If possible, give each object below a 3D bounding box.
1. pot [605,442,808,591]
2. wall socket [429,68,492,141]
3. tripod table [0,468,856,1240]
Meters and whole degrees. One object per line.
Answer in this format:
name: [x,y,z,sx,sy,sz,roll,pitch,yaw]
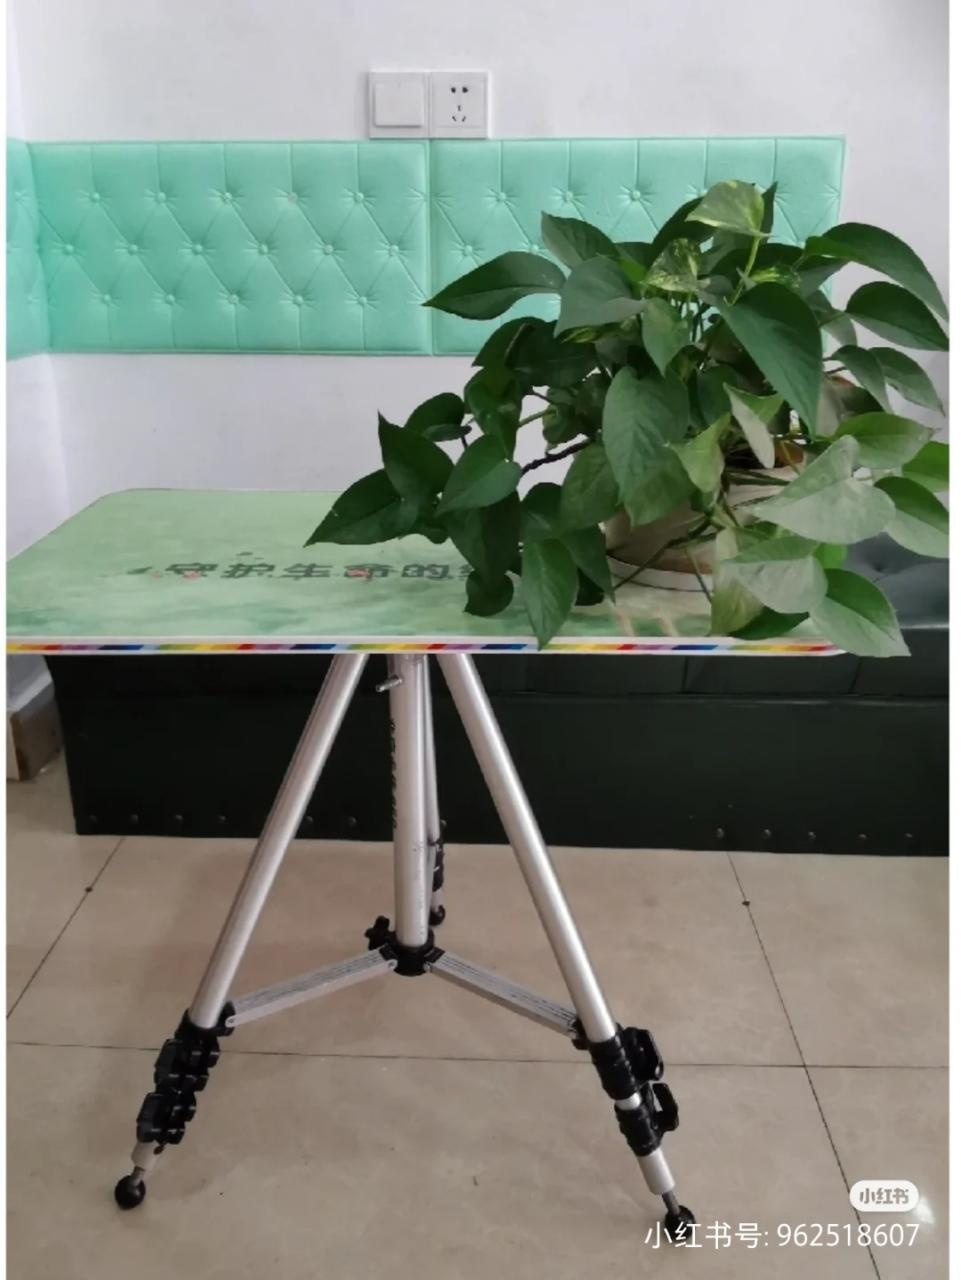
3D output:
pot: [0.162,-0.103,0.883,0.113,0.057,0.141,16,37,29]
wall socket: [-0.041,-1.054,2.073,0.134,0.127,0.014,1,19,0]
tripod table: [-0.133,0.169,1.264,0.940,0.773,0.757,1,18,1]
